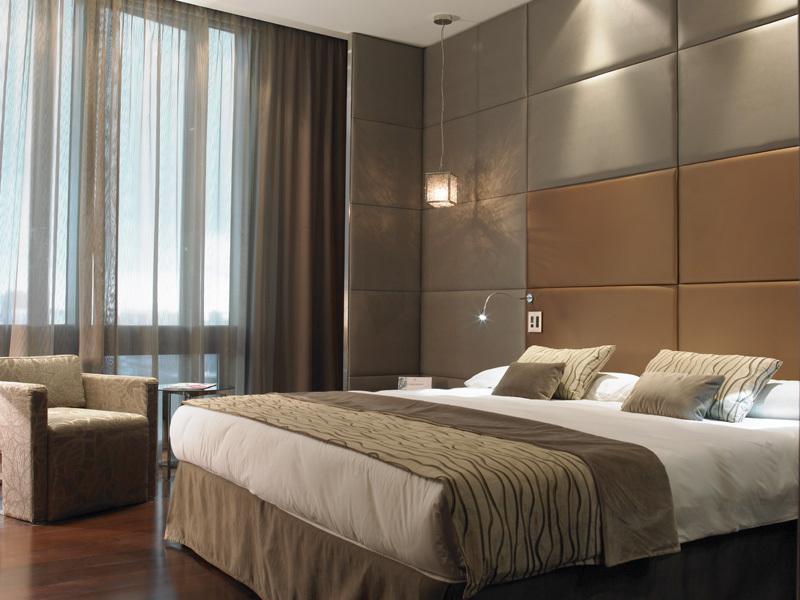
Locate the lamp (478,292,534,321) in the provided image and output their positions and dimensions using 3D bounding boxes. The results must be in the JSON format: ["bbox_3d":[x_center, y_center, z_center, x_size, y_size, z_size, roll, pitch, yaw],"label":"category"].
[{"bbox_3d":[0.845,0.057,5.360,0.086,0.255,0.628,-3,1,-31],"label":"lamp"}]

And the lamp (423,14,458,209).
[{"bbox_3d":[0.375,-1.630,5.791,0.304,1.603,0.605,-2,2,4],"label":"lamp"}]

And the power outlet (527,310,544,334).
[{"bbox_3d":[1.048,0.162,5.082,0.026,0.253,0.169,2,-3,-32],"label":"power outlet"}]
